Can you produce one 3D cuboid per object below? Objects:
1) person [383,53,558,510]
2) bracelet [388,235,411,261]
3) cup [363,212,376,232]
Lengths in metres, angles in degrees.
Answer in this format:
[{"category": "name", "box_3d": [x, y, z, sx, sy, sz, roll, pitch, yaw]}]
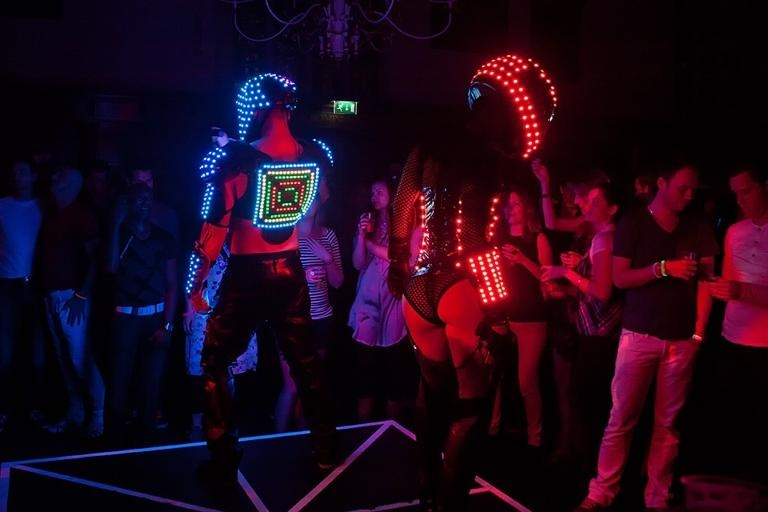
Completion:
[{"category": "person", "box_3d": [0.616, 0.247, 5.392, 1.167, 2.603, 0.391, 7, 3, 30]}, {"category": "bracelet", "box_3d": [0.125, -0.057, 5.517, 0.177, 0.201, 0.181, -1, 3, -15]}, {"category": "cup", "box_3d": [-0.154, -0.367, 7.125, 0.158, 0.267, 0.163, 0, 1, 0]}]
